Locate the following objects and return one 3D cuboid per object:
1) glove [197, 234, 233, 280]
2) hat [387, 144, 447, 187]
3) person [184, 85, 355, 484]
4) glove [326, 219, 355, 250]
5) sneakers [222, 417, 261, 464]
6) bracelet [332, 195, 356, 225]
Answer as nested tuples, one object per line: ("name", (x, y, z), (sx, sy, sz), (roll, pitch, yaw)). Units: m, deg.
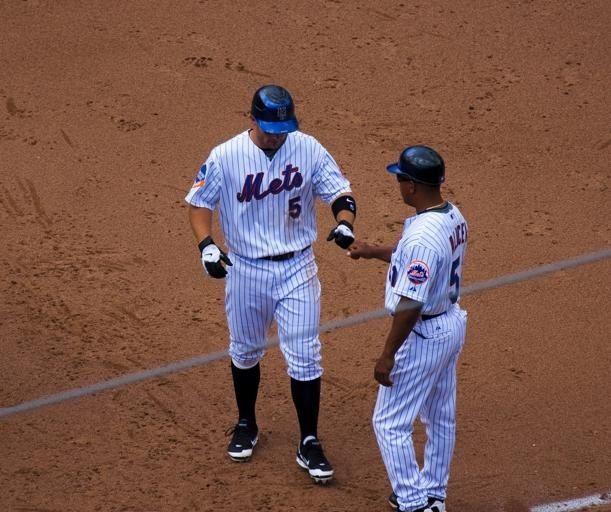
("glove", (-0.750, 0.024, 8.601), (0.401, 0.254, 0.155), (50, 21, 24))
("hat", (0.938, -0.778, 8.206), (0.560, 0.233, 0.377), (14, 34, 19))
("person", (-0.312, 0.207, 8.832), (1.548, 3.320, 1.032), (11, 23, 16))
("glove", (0.318, -0.165, 8.587), (0.230, 0.111, 0.259), (22, 25, 0))
("sneakers", (-0.574, 1.676, 9.027), (0.213, 0.188, 0.465), (2, 15, 5))
("bracelet", (0.338, -0.394, 8.799), (0.269, 0.179, 0.255), (-1, -17, -7))
